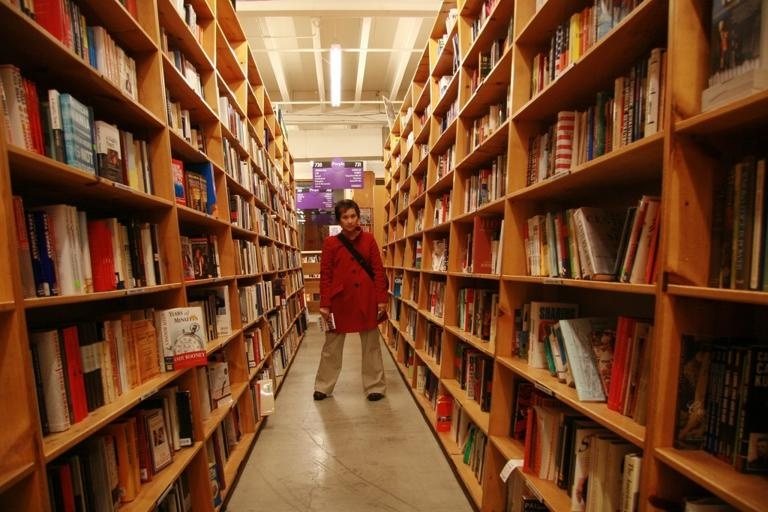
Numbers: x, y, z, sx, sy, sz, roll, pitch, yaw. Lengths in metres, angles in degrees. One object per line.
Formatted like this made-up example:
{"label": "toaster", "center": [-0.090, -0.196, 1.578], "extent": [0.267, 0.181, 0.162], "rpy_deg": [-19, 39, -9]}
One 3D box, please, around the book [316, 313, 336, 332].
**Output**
{"label": "book", "center": [-0.453, 0.525, 4.448], "extent": [0.148, 0.138, 0.035], "rpy_deg": [-4, 3, 29]}

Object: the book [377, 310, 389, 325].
{"label": "book", "center": [-0.034, 0.498, 4.625], "extent": [0.099, 0.122, 0.132], "rpy_deg": [2, -6, 9]}

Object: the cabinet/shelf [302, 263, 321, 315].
{"label": "cabinet/shelf", "center": [-1.246, 0.570, 9.357], "extent": [0.365, 0.864, 0.898], "rpy_deg": [-1, 1, 1]}
